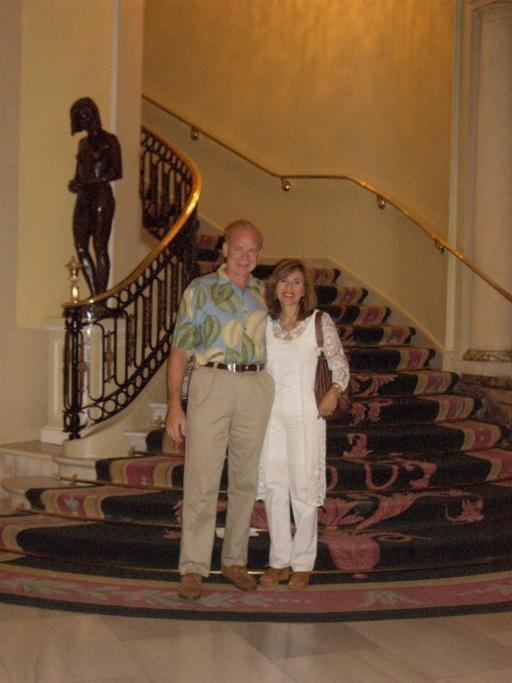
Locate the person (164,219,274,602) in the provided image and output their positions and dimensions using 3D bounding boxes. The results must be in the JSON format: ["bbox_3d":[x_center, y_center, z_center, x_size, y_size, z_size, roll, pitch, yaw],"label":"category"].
[{"bbox_3d":[-0.157,0.361,3.420,0.464,1.385,0.518,-1,13,-12],"label":"person"}]

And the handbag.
[{"bbox_3d":[0.327,0.099,3.466,0.171,0.445,0.264,3,12,4],"label":"handbag"}]
